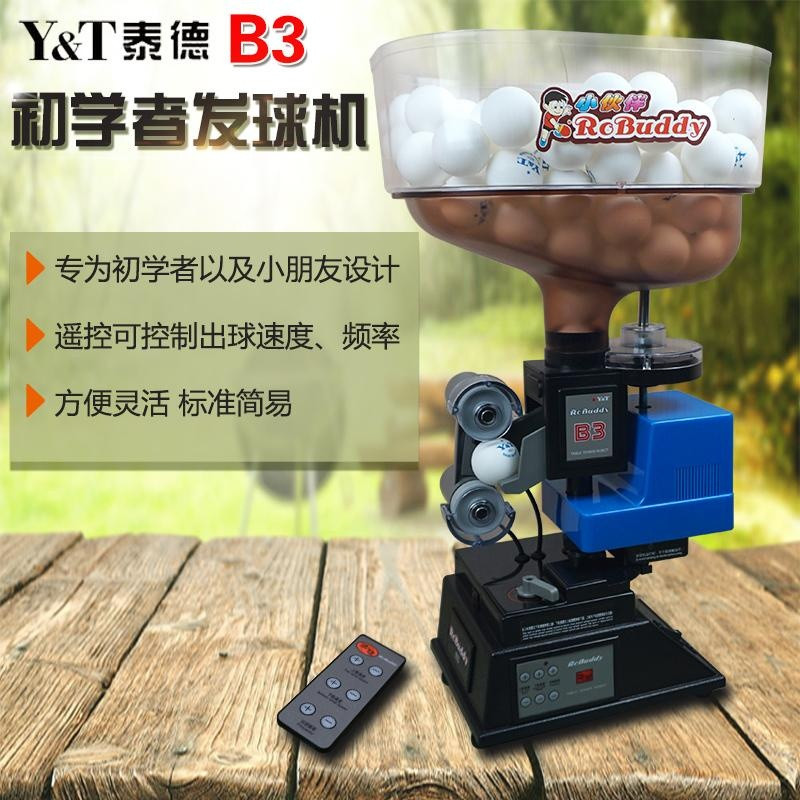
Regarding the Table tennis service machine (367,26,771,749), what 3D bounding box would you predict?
[{"bbox_3d":[0.170,-0.005,0.765,0.362,0.544,0.293,-5,3,-5],"label":"Table tennis service machine"}]
